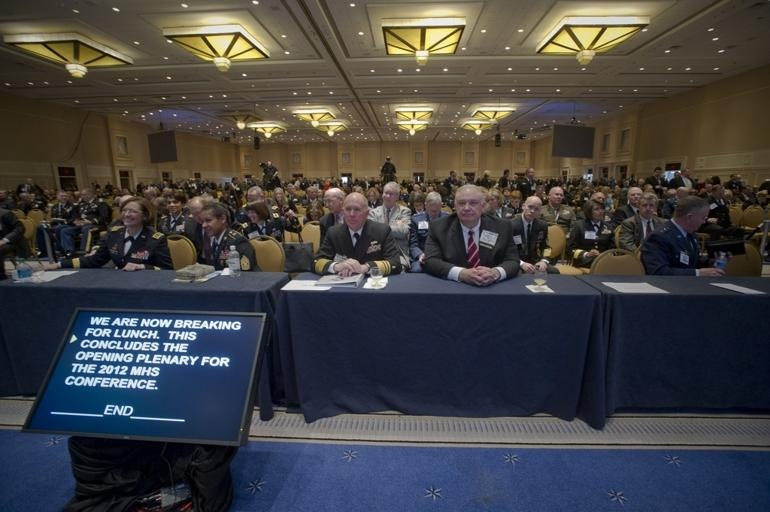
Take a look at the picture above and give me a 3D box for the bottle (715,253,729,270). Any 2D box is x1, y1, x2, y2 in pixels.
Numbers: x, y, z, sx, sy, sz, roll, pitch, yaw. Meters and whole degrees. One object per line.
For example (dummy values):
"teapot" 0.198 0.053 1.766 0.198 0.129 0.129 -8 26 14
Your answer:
"bottle" 3.886 0.044 5.565 0.125 0.200 0.139 5 10 34

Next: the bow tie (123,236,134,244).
"bow tie" -3.201 -0.184 5.978 0.080 0.110 0.027 -11 -27 -16

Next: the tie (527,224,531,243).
"tie" 2.116 -0.365 7.154 0.051 0.219 0.061 6 -6 8

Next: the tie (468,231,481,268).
"tie" 1.010 -0.089 5.507 0.136 0.403 0.132 0 8 8
